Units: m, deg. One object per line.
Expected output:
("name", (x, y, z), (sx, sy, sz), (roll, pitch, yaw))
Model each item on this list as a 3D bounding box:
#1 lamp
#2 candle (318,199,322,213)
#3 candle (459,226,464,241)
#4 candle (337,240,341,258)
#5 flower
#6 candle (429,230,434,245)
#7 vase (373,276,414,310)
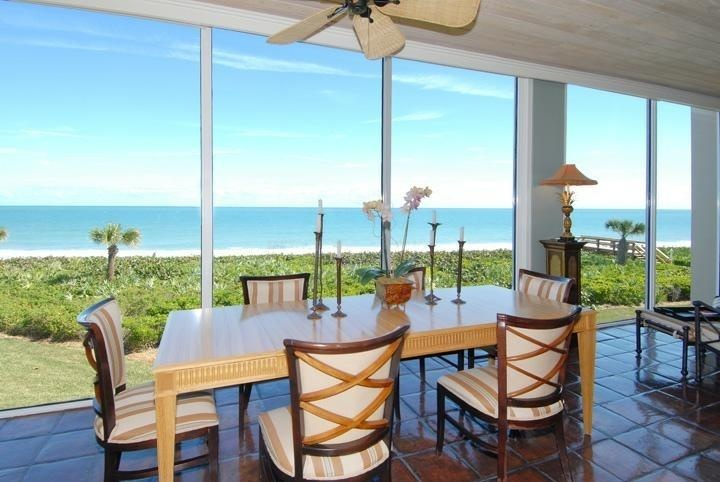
("lamp", (2.677, -0.518, 6.706), (0.948, 1.103, 0.964), (-1, 4, 15))
("candle", (-0.354, -0.309, 4.492), (0.025, 0.126, 0.087), (-3, 0, -4))
("candle", (0.937, -0.069, 4.733), (0.028, 0.109, 0.095), (-3, 0, 4))
("candle", (-0.189, 0.069, 4.469), (0.032, 0.153, 0.097), (-3, 0, -11))
("flower", (0.348, -0.009, 4.968), (0.807, 0.958, 0.715), (-10, -12, 41))
("candle", (0.669, -0.041, 4.803), (0.040, 0.126, 0.073), (-3, 0, 7))
("vase", (0.294, 0.518, 4.969), (0.453, 0.240, 0.420), (-3, -2, 12))
